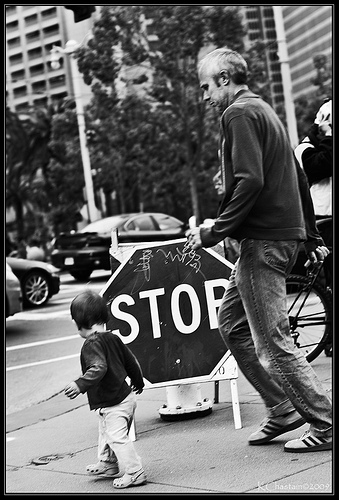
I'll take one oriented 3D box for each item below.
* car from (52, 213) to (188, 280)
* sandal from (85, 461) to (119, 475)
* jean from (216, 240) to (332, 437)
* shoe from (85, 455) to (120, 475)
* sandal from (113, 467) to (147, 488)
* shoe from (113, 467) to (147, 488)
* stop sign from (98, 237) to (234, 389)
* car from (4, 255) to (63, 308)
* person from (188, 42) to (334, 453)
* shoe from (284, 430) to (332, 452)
[{"bbox_3d":[-1.273,-0.286,16.261,3.696,1.320,1.619,-7,4,-39],"label":"car"},{"bbox_3d":[-0.317,1.037,2.993,0.170,0.086,0.061,5,-5,-7],"label":"sandal"},{"bbox_3d":[0.519,0.425,3.146,0.386,0.878,0.544,-6,-2,-14],"label":"jean"},{"bbox_3d":[-0.307,1.033,2.997,0.194,0.103,0.074,3,-4,-6],"label":"shoe"},{"bbox_3d":[-0.173,1.020,2.802,0.161,0.089,0.066,-6,1,-3],"label":"sandal"},{"bbox_3d":[-0.171,1.011,2.761,0.152,0.083,0.069,-5,-1,-3],"label":"shoe"},{"bbox_3d":[0.026,0.278,4.103,0.765,0.995,0.967,0,8,4],"label":"stop sign"},{"bbox_3d":[-3.096,0.588,12.638,1.741,0.827,0.929,-3,5,-20],"label":"car"},{"bbox_3d":[0.475,-0.074,3.199,0.685,1.855,0.886,-7,-2,10],"label":"person"},{"bbox_3d":[0.666,0.905,2.970,0.227,0.111,0.083,0,-9,11],"label":"shoe"}]
